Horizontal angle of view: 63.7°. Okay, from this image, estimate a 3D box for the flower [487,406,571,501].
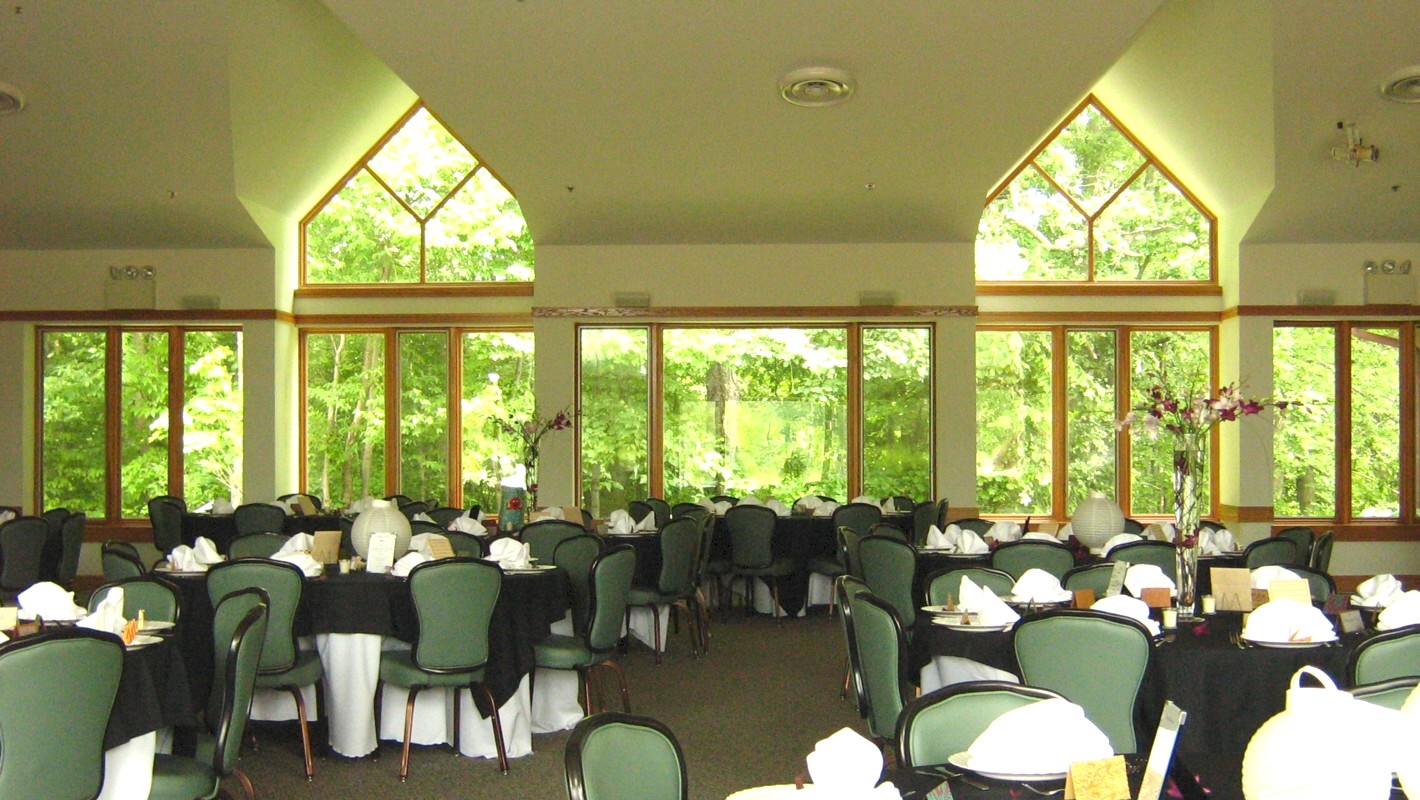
[{"bbox_3d":[-1.957,0.733,14.267,1.367,1.249,1.041,-2,3,-22],"label":"flower"}]

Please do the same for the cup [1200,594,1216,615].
[{"bbox_3d":[4.029,1.649,9.192,0.153,0.147,0.084,3,-3,-24],"label":"cup"}]

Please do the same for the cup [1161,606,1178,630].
[{"bbox_3d":[3.594,1.709,8.916,0.143,0.150,0.145,1,2,0],"label":"cup"}]

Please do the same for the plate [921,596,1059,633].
[{"bbox_3d":[2.194,1.661,9.142,0.943,0.304,0.504,1,-3,12],"label":"plate"}]

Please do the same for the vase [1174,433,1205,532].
[{"bbox_3d":[3.874,0.686,9.208,0.256,0.810,0.194,1,-3,8],"label":"vase"}]

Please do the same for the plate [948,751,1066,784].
[{"bbox_3d":[1.931,2.390,7.407,0.723,0.171,0.142,1,-3,10],"label":"plate"}]
